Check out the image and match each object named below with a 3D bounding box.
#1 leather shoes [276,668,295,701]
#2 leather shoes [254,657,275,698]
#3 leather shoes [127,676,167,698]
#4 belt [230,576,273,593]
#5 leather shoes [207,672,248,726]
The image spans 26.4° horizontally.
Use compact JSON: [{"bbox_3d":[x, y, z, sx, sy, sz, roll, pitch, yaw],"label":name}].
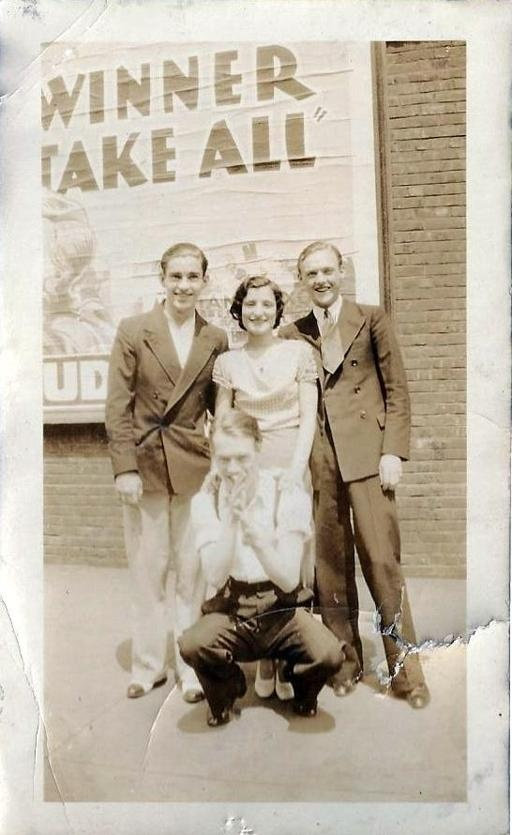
[{"bbox_3d":[0.102,0.976,3.961,0.052,0.131,0.036,-5,7,17],"label":"leather shoes"},{"bbox_3d":[0.028,0.945,3.964,0.065,0.136,0.037,0,9,4],"label":"leather shoes"},{"bbox_3d":[-0.406,1.001,4.040,0.070,0.054,0.135,-6,-13,43],"label":"leather shoes"},{"bbox_3d":[-0.018,0.605,3.957,0.154,0.049,0.016,-1,5,9],"label":"belt"},{"bbox_3d":[-0.097,1.012,4.030,0.119,0.217,0.092,16,-1,11],"label":"leather shoes"}]
